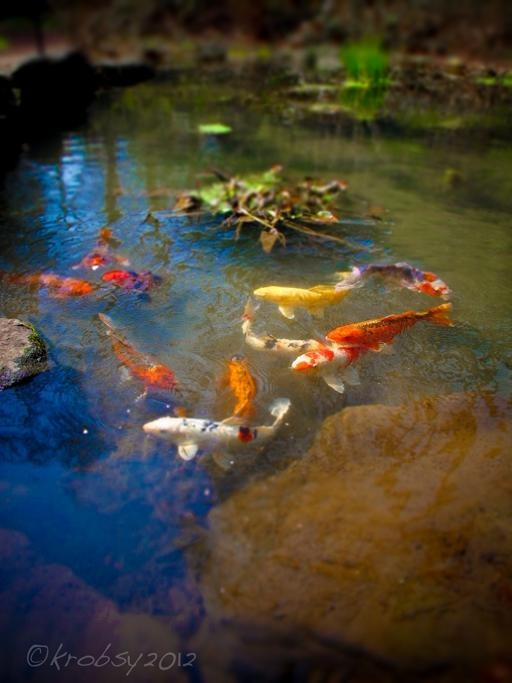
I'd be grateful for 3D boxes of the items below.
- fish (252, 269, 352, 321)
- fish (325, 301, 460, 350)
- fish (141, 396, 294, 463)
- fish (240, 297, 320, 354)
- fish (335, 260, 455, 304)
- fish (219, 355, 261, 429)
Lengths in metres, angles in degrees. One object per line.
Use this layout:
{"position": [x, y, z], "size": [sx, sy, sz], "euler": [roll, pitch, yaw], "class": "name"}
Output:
{"position": [0.386, -0.389, 5.591], "size": [1.150, 0.378, 0.265], "euler": [0, 55, 1], "class": "fish"}
{"position": [1.124, -0.114, 5.384], "size": [0.810, 0.215, 0.191], "euler": [-14, 34, -15], "class": "fish"}
{"position": [-0.297, 0.620, 4.705], "size": [1.006, 0.290, 0.358], "euler": [2, 33, -11], "class": "fish"}
{"position": [0.146, -0.096, 5.357], "size": [0.784, 0.334, 0.353], "euler": [19, 31, 41], "class": "fish"}
{"position": [1.226, -0.500, 5.778], "size": [0.913, 0.333, 0.192], "euler": [5, 63, 18], "class": "fish"}
{"position": [-0.111, 0.367, 5.053], "size": [0.183, 0.230, 0.544], "euler": [-23, 36, 18], "class": "fish"}
